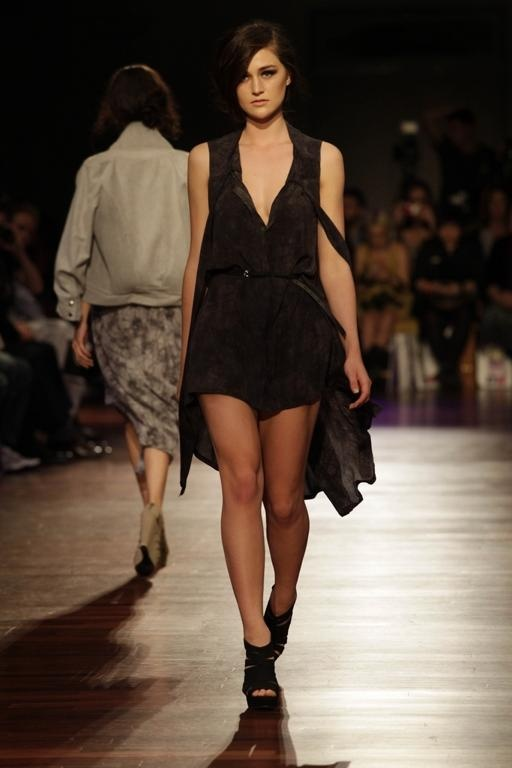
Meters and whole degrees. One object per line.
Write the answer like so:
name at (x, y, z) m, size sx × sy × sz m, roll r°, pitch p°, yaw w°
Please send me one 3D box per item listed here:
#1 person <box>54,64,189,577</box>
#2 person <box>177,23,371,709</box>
person at (-0.430, -0.223, 2.734) m, size 0.421 × 1.681 × 0.416 m, roll -1°, pitch -1°, yaw -4°
person at (0.046, -0.053, 1.586) m, size 0.405 × 0.821 × 0.246 m, roll -1°, pitch -1°, yaw -28°
